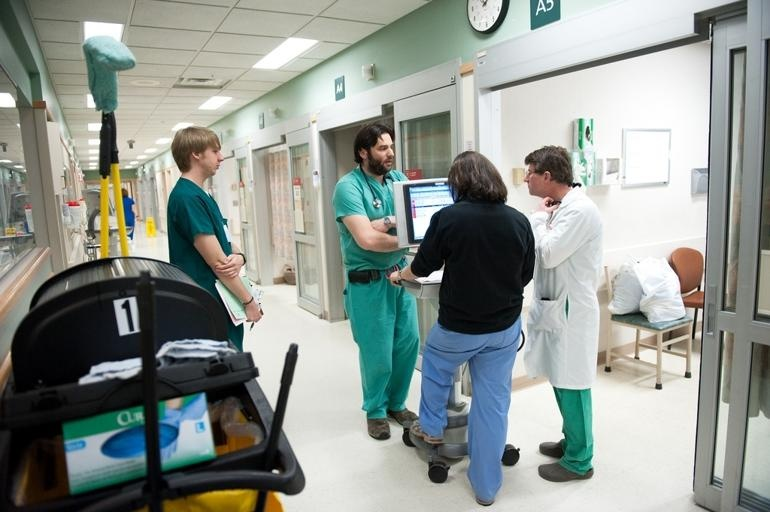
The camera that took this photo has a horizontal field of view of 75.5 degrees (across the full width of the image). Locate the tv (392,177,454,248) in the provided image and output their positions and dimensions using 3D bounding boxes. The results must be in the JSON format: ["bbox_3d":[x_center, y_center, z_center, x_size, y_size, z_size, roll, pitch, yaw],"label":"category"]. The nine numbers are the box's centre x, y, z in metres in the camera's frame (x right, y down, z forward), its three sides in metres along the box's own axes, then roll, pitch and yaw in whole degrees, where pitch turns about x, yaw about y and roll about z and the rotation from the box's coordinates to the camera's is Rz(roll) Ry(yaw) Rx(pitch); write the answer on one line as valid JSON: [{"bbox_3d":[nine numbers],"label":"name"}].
[{"bbox_3d":[0.236,-0.256,2.993,0.423,0.321,0.047,-7,3,-23],"label":"tv"}]

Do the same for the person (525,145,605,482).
[{"bbox_3d":[1.097,0.349,3.081,0.444,1.983,0.584,1,15,15],"label":"person"}]

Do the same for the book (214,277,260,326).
[{"bbox_3d":[-0.848,0.268,2.806,0.060,0.265,0.252,-25,3,30],"label":"book"}]

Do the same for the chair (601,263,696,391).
[{"bbox_3d":[2.393,0.520,4.394,0.987,0.939,0.691,-13,17,-36],"label":"chair"}]

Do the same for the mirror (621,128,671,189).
[{"bbox_3d":[2.401,-0.887,4.578,0.647,0.508,0.023,-7,13,-26],"label":"mirror"}]

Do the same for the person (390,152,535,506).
[{"bbox_3d":[0.481,0.421,2.922,0.654,1.981,0.423,7,17,35],"label":"person"}]

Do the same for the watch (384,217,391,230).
[{"bbox_3d":[0.019,-0.221,3.382,0.049,0.069,0.074,2,-11,-7],"label":"watch"}]

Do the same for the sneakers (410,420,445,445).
[{"bbox_3d":[0.271,1.134,3.247,0.101,0.118,0.253,-2,12,-22],"label":"sneakers"}]
